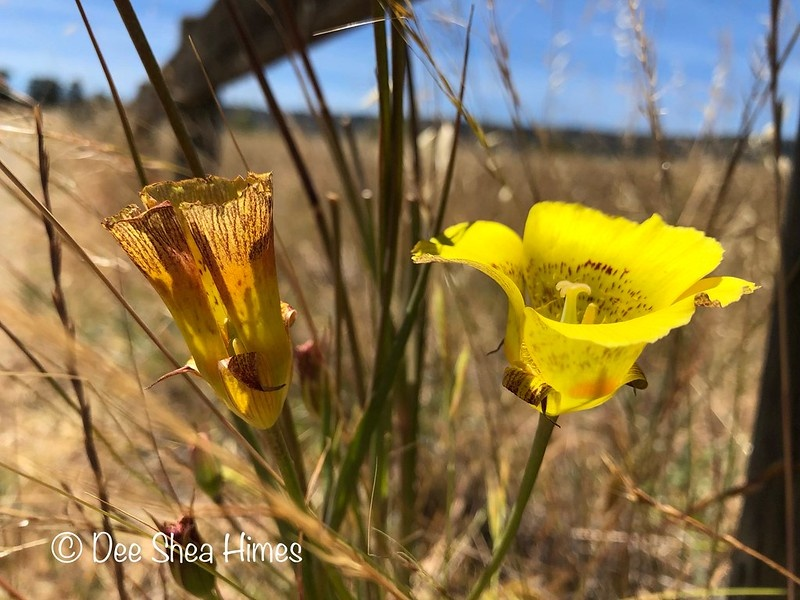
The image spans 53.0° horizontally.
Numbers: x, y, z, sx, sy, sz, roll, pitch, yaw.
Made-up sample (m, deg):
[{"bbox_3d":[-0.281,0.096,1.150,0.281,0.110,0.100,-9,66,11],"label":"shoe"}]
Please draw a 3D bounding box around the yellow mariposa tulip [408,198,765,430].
[{"bbox_3d":[0.292,-0.008,1.218,0.372,0.203,0.385,-11,25,-22],"label":"yellow mariposa tulip"}]

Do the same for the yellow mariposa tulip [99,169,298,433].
[{"bbox_3d":[-0.287,-0.005,1.186,0.252,0.299,0.242,-1,37,4],"label":"yellow mariposa tulip"}]
